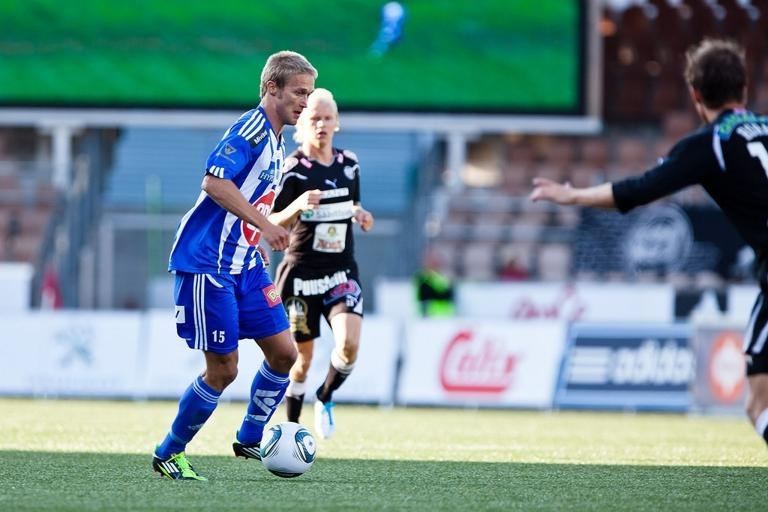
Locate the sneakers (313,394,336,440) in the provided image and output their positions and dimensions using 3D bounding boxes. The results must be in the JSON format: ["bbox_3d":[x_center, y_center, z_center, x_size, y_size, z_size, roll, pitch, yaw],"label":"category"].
[{"bbox_3d":[-0.566,1.544,11.888,0.164,0.429,0.187,-6,-11,-29],"label":"sneakers"}]

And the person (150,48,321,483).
[{"bbox_3d":[-1.275,0.067,10.420,1.160,3.660,0.753,3,0,-11],"label":"person"}]
